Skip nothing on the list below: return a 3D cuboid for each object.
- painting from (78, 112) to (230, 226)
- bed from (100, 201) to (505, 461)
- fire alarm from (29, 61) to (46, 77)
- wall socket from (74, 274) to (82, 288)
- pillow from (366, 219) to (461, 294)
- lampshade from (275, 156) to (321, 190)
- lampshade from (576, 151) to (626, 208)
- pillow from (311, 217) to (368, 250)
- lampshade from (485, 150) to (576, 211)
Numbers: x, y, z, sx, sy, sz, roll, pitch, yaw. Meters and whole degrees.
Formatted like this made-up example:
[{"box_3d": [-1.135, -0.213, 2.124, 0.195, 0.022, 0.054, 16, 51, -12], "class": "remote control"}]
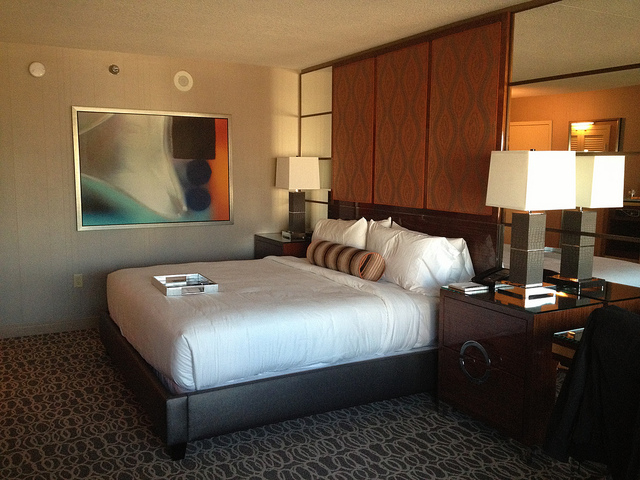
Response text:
[{"box_3d": [-2.054, -0.877, 5.476, 1.353, 1.017, 0.048, -5, 11, -29], "class": "painting"}, {"box_3d": [-0.156, 0.607, 3.868, 2.355, 1.327, 2.258, -2, 8, -25], "class": "bed"}, {"box_3d": [-2.992, -1.816, 4.863, 0.154, 0.147, 0.062, -6, 12, -32], "class": "fire alarm"}, {"box_3d": [-2.766, 0.465, 5.252, 0.081, 0.148, 0.029, -3, 11, -21], "class": "wall socket"}, {"box_3d": [0.758, 0.144, 4.366, 0.473, 0.509, 1.108, -1, 8, -35], "class": "pillow"}, {"box_3d": [-0.269, -0.833, 5.897, 0.362, 0.466, 0.454, 0, -2, 20], "class": "lampshade"}, {"box_3d": [1.937, -0.422, 3.167, 0.299, 0.383, 0.096, 7, 12, 33], "class": "lampshade"}, {"box_3d": [0.239, -0.065, 4.943, 0.566, 0.320, 0.162, 4, 2, -29], "class": "pillow"}, {"box_3d": [1.396, -0.403, 3.065, 0.454, 0.414, 0.462, 6, 5, 33], "class": "lampshade"}]
